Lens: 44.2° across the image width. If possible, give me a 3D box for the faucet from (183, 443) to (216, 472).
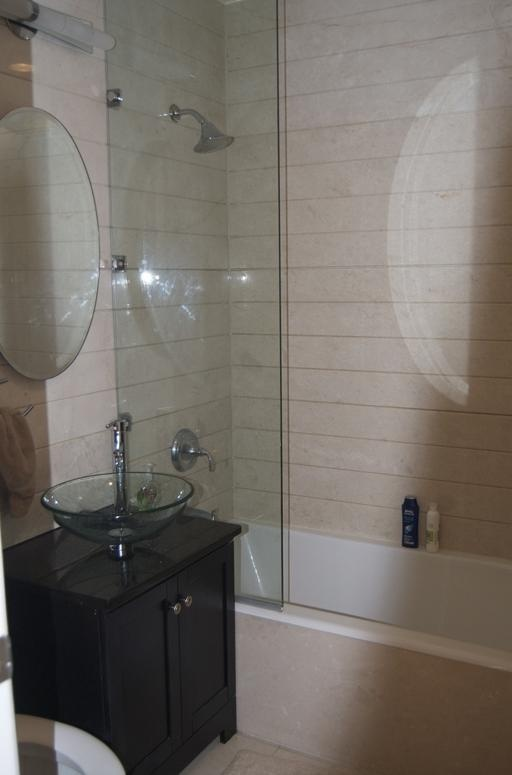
[{"bbox_3d":[-0.167,0.205,1.893,0.095,0.041,0.054,27,14,26],"label":"faucet"}]
